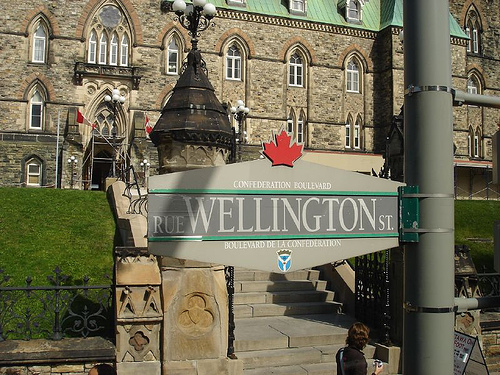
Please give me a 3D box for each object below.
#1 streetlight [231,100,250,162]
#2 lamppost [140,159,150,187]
[{"bbox_3d":[-0.420,-3.173,46.909,0.863,3.942,0.787,-3,6,-23],"label":"streetlight"},{"bbox_3d":[-5.941,-1.187,53.886,0.521,1.459,0.531,-1,-3,-8],"label":"lamppost"}]
